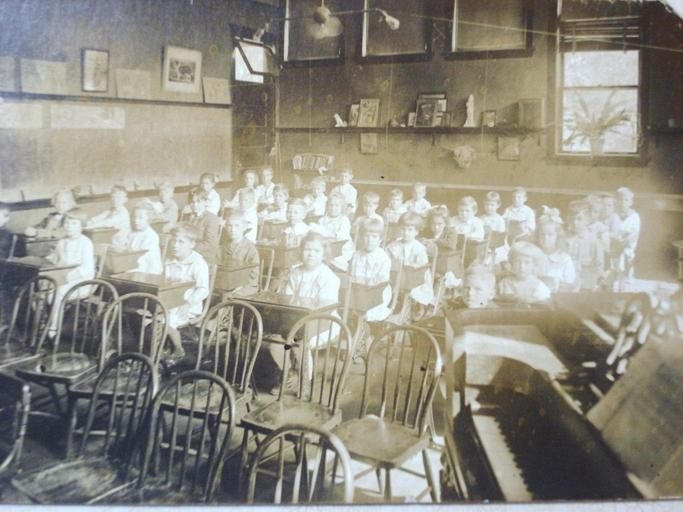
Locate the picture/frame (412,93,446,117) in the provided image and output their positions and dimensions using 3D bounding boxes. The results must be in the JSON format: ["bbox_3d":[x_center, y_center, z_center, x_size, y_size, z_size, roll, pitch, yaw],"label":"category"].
[{"bbox_3d":[0.574,-0.976,3.853,0.196,0.113,0.030,3,7,10],"label":"picture/frame"}]

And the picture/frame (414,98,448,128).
[{"bbox_3d":[0.584,-0.908,3.896,0.176,0.189,0.045,8,10,23],"label":"picture/frame"}]

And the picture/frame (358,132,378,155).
[{"bbox_3d":[0.184,-0.762,4.065,0.128,0.157,0.021,6,42,10],"label":"picture/frame"}]

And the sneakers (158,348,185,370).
[{"bbox_3d":[-1.055,0.632,3.704,0.072,0.061,0.137,4,5,20],"label":"sneakers"}]

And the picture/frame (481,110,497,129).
[{"bbox_3d":[0.920,-0.857,3.769,0.092,0.111,0.011,9,20,27],"label":"picture/frame"}]

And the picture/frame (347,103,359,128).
[{"bbox_3d":[0.081,-0.917,3.930,0.073,0.146,0.046,1,7,-4],"label":"picture/frame"}]

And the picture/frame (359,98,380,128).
[{"bbox_3d":[0.177,-0.934,3.930,0.150,0.224,0.021,6,5,10],"label":"picture/frame"}]

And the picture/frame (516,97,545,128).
[{"bbox_3d":[1.161,-0.876,3.692,0.163,0.222,0.022,1,8,13],"label":"picture/frame"}]

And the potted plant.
[{"bbox_3d":[1.562,-0.805,3.689,0.379,0.339,0.393,7,11,36],"label":"potted plant"}]

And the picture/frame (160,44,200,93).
[{"bbox_3d":[-1.047,-1.211,3.879,0.255,0.274,0.034,-12,27,-37],"label":"picture/frame"}]

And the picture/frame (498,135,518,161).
[{"bbox_3d":[1.051,-0.686,3.811,0.131,0.155,0.021,4,16,18],"label":"picture/frame"}]
